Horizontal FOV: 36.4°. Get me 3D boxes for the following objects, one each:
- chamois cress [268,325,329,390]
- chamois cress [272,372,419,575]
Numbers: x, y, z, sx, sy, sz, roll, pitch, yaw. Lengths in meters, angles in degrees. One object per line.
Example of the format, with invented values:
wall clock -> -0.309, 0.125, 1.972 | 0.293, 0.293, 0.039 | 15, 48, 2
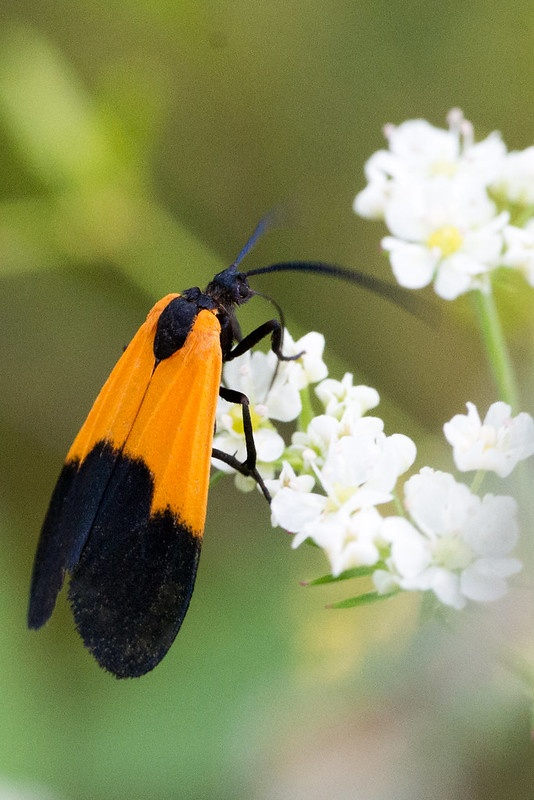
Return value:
chamois cress -> 0.076, -0.089, 1.768 | 0.036, 0.132, 0.116 | 19, -93, -46
chamois cress -> 0.082, 0.139, 1.380 | 0.158, 0.344, 0.207 | 28, -62, -24
